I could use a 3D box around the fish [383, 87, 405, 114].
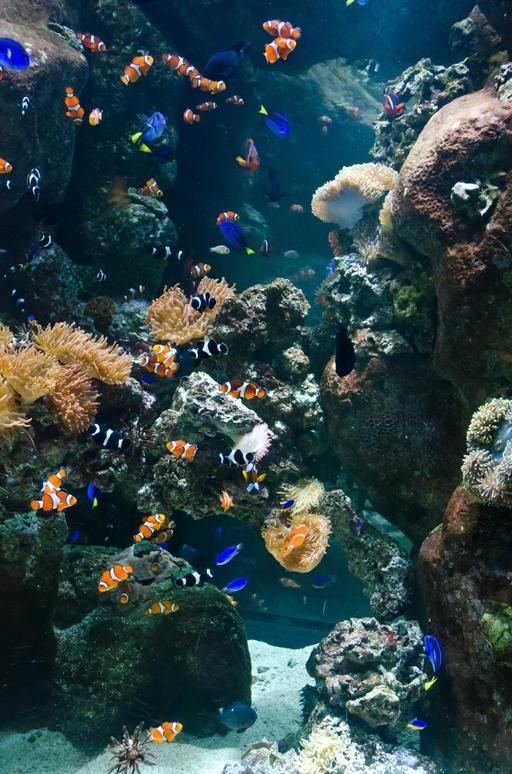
[{"bbox_3d":[1.853,-3.678,9.222,0.210,0.279,0.294,-15,-3,-12],"label":"fish"}]
